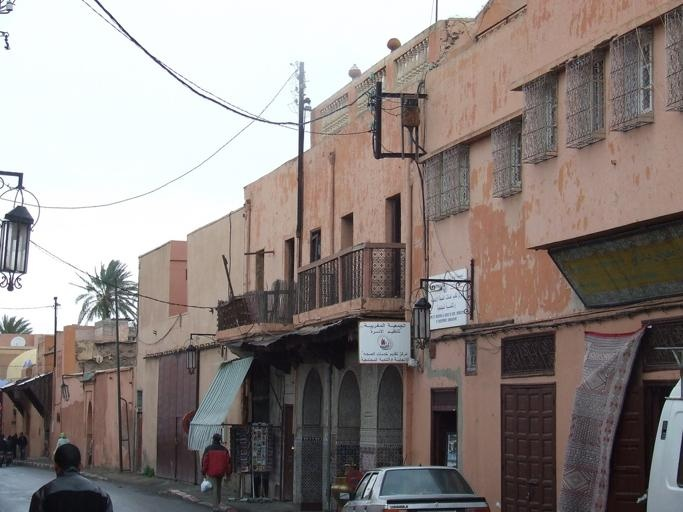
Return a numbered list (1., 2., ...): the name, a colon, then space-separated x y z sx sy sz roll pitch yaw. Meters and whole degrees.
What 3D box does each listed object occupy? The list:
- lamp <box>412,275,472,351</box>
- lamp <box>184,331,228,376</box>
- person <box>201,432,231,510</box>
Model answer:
1. lamp: 1.993 0.968 19.866 0.963 1.929 0.762 5 -10 -15
2. lamp: -4.662 3.290 32.578 0.342 1.375 1.953 -3 -3 20
3. person: -3.030 5.216 23.287 0.662 1.851 0.822 2 -15 -10
